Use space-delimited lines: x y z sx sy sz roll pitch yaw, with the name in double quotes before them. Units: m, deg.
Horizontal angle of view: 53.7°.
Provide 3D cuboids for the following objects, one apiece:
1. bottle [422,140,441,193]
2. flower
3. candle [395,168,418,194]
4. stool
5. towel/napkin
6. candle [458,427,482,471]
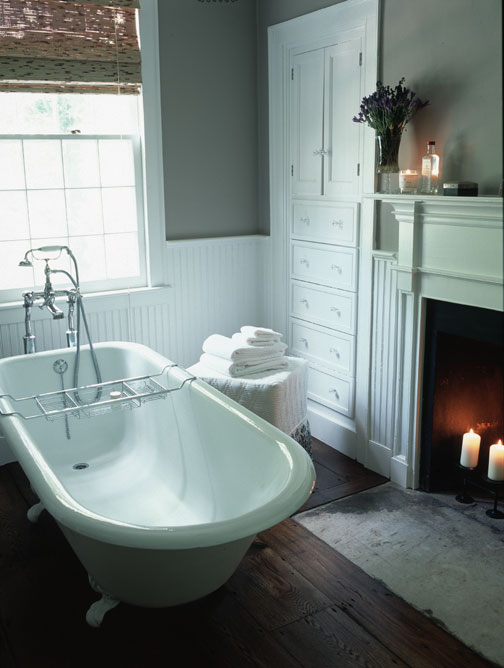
"bottle" 0.712 -0.657 1.987 0.070 0.208 0.158 1 7 20
"flower" 0.581 -0.840 2.118 0.248 0.326 0.265 2 8 -20
"candle" 0.643 -0.626 2.061 0.090 0.105 0.091 5 19 18
"stool" -0.016 0.294 2.574 0.496 0.452 0.497 11 18 36
"towel/napkin" -0.025 0.105 2.592 0.312 0.157 0.333 -7 13 -31
"candle" 0.980 0.509 2.252 0.073 0.173 0.163 2 8 24
